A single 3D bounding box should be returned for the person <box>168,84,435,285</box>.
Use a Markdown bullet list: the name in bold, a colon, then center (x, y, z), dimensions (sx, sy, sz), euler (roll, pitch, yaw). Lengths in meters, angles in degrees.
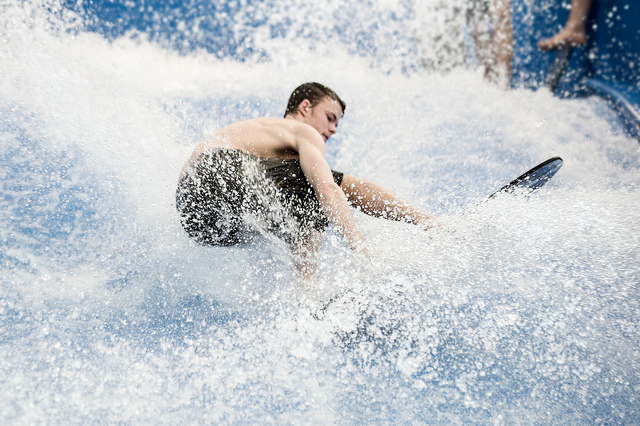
- **person**: center (-0.223, -0.116, 3.685), dimensions (1.275, 0.630, 1.135), euler (-26, 83, -7)
